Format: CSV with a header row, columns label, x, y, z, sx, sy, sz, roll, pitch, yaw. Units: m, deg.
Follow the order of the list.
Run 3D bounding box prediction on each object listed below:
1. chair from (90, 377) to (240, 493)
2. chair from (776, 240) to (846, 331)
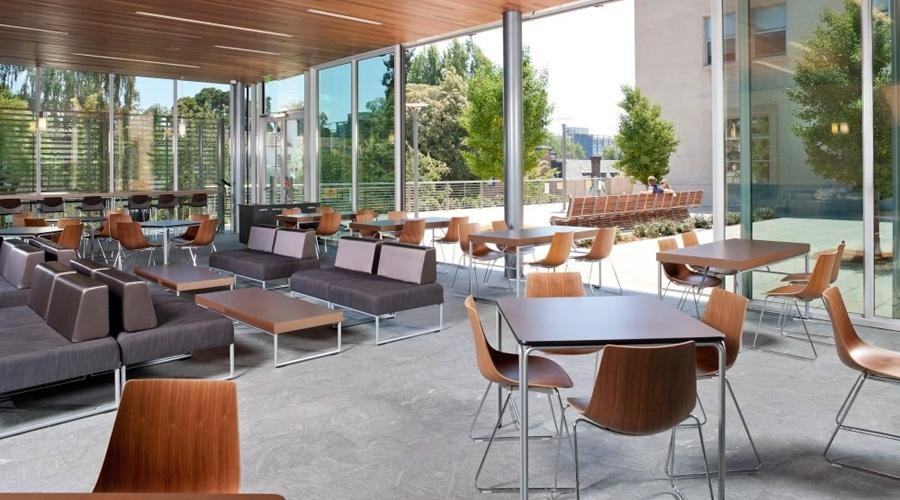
label,x,y,z,sx,sy,sz,roll,pitch,yaw
chair,-2.145,1.464,4.638,1.015,0.618,0.990,1,1,-3
chair,5.260,0.236,8.387,0.836,1.091,0.763,7,8,40
